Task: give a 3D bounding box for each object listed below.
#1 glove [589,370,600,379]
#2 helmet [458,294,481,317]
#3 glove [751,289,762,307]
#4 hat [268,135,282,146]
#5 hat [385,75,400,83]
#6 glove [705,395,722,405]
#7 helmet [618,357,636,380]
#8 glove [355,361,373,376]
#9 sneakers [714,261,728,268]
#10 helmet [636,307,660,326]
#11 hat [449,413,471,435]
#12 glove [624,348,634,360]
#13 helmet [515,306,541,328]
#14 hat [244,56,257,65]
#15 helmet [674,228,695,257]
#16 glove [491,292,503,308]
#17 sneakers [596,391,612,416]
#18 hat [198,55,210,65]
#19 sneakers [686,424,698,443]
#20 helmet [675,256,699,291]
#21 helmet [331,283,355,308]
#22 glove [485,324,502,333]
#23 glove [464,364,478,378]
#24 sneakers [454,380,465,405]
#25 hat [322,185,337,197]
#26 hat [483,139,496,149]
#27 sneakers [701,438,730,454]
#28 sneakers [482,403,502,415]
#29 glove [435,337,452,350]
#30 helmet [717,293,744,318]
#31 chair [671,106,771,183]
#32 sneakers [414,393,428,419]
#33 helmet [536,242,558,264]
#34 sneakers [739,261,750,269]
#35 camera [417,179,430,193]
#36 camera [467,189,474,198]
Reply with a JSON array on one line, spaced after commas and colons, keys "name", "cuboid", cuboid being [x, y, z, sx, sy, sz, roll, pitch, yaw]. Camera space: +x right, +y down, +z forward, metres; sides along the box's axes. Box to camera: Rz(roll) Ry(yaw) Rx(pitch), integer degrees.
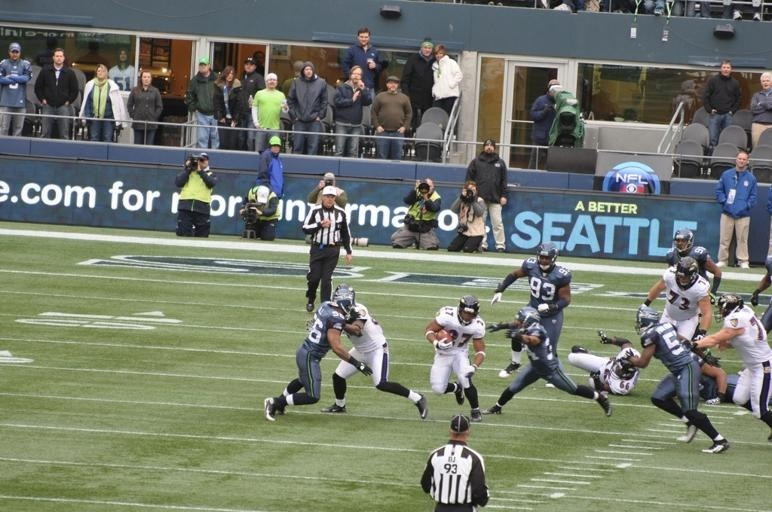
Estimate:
[{"name": "glove", "cuboid": [4.262, 2.396, 38.616, 0.124, 0.176, 0.284, 1, 3, -27]}, {"name": "helmet", "cuboid": [1.636, 0.927, 36.925, 0.339, 0.354, 0.410, 14, 31, -8]}, {"name": "glove", "cuboid": [8.242, 0.899, 41.774, 0.161, 0.181, 0.605, 4, 41, 31]}, {"name": "hat", "cuboid": [-2.740, -2.905, 46.034, 0.230, 0.184, 0.354, 1, 2, -12]}, {"name": "hat", "cuboid": [0.156, -4.709, 49.064, 0.434, 0.158, 0.487, 2, 6, -7]}, {"name": "glove", "cuboid": [6.665, 2.915, 38.212, 0.324, 0.147, 0.119, 2, 20, -1]}, {"name": "helmet", "cuboid": [4.880, 2.273, 38.254, 0.331, 0.464, 0.587, 4, 3, 25]}, {"name": "glove", "cuboid": [-0.433, 2.158, 36.765, 0.379, 0.209, 0.122, 26, -9, 10]}, {"name": "sneakers", "cuboid": [8.321, 0.164, 46.562, 0.157, 0.196, 0.469, 4, -5, 28]}, {"name": "helmet", "cuboid": [5.138, 1.180, 36.935, 0.423, 0.346, 0.333, 24, 5, 10]}, {"name": "hat", "cuboid": [1.329, 2.999, 33.754, 0.256, 0.365, 0.220, 3, -26, 8]}, {"name": "glove", "cuboid": [4.863, 1.918, 37.340, 0.185, 0.182, 0.140, 5, 15, -31]}, {"name": "helmet", "cuboid": [2.790, 1.174, 37.172, 0.446, 0.385, 0.343, 6, 0, 3]}, {"name": "hat", "cuboid": [-3.555, -5.196, 48.771, 0.288, 0.218, 0.419, 7, -9, 5]}, {"name": "helmet", "cuboid": [6.245, -0.355, 39.642, 0.408, 0.522, 0.540, -3, 8, 26]}, {"name": "glove", "cuboid": [2.395, 0.849, 39.404, 0.374, 0.089, 0.218, -41, 28, -16]}, {"name": "sneakers", "cuboid": [4.366, 2.944, 37.561, 0.275, 0.610, 0.206, -19, 31, 14]}, {"name": "hat", "cuboid": [-4.701, -5.118, 48.457, 0.300, 0.148, 0.466, -5, 5, 4]}, {"name": "sneakers", "cuboid": [5.988, 3.438, 36.751, 0.213, 0.463, 0.159, 10, 24, 7]}, {"name": "helmet", "cuboid": [6.118, 0.253, 38.038, 0.462, 0.631, 0.544, 7, -29, 23]}, {"name": "helmet", "cuboid": [-0.813, 0.742, 36.721, 0.481, 0.429, 0.375, -3, -6, -25]}, {"name": "glove", "cuboid": [2.180, 1.426, 38.218, 0.324, 0.166, 0.569, -9, 0, 0]}, {"name": "glove", "cuboid": [1.665, 2.236, 37.172, 0.384, 0.172, 0.519, -2, -5, -1]}, {"name": "sneakers", "cuboid": [1.471, 2.748, 37.606, 0.162, 0.488, 0.227, -1, 36, 14]}, {"name": "hat", "cuboid": [-1.237, -1.455, 40.587, 0.318, 0.178, 0.447, 3, 0, -10]}, {"name": "hat", "cuboid": [2.574, -2.840, 46.757, 0.272, 0.316, 0.328, 1, -34, 7]}, {"name": "sneakers", "cuboid": [6.486, 3.687, 36.588, 0.597, 0.275, 0.219, -7, 11, 27]}, {"name": "sneakers", "cuboid": [2.134, 3.060, 37.738, 0.442, 0.297, 0.158, 0, 11, 5]}, {"name": "glove", "cuboid": [1.126, 1.718, 37.026, 0.319, 0.262, 0.249, 4, 3, 22]}, {"name": "helmet", "cuboid": [6.805, 0.940, 37.032, 0.496, 0.449, 0.381, 0, 4, 10]}, {"name": "chair", "cuboid": [8.501, -2.798, 48.952, 1.919, 1.474, 1.649, 3, 3, 11]}, {"name": "sneakers", "cuboid": [0.685, 2.999, 37.298, 0.260, 0.558, 0.197, -10, 38, 1]}, {"name": "helmet", "cuboid": [3.343, -0.103, 38.895, 0.383, 0.453, 0.632, 3, 3, 4]}, {"name": "sneakers", "cuboid": [8.962, 0.170, 46.753, 0.348, 0.178, 0.246, 1, 4, -29]}, {"name": "camera", "cuboid": [0.925, -1.771, 46.328, 0.218, 0.282, 0.293, 5, 2, -6]}, {"name": "camera", "cuboid": [2.069, -1.602, 46.321, 0.195, 0.265, 0.145, 0, 8, 3]}]
